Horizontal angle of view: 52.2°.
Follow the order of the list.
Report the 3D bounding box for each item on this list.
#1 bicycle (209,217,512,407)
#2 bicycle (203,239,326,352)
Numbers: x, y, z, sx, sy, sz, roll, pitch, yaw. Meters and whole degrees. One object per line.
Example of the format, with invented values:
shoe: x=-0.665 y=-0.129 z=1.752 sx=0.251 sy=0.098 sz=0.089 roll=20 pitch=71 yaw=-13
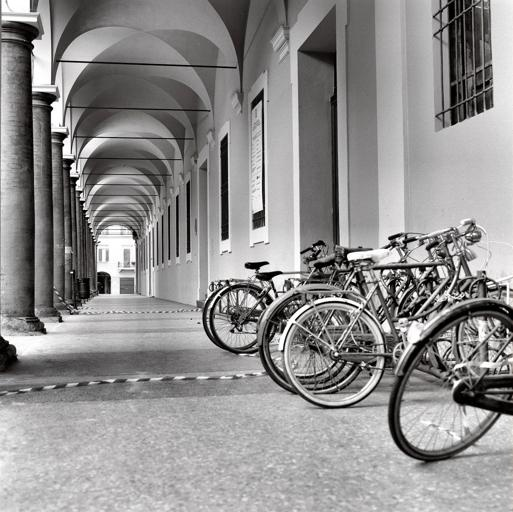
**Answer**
bicycle: x=0.740 y=0.330 z=3.550 sx=1.759 sy=1.249 sz=1.004 roll=-2 pitch=3 yaw=-17
bicycle: x=0.364 y=0.458 z=5.878 sx=1.834 sy=1.352 sz=0.810 roll=3 pitch=7 yaw=0
